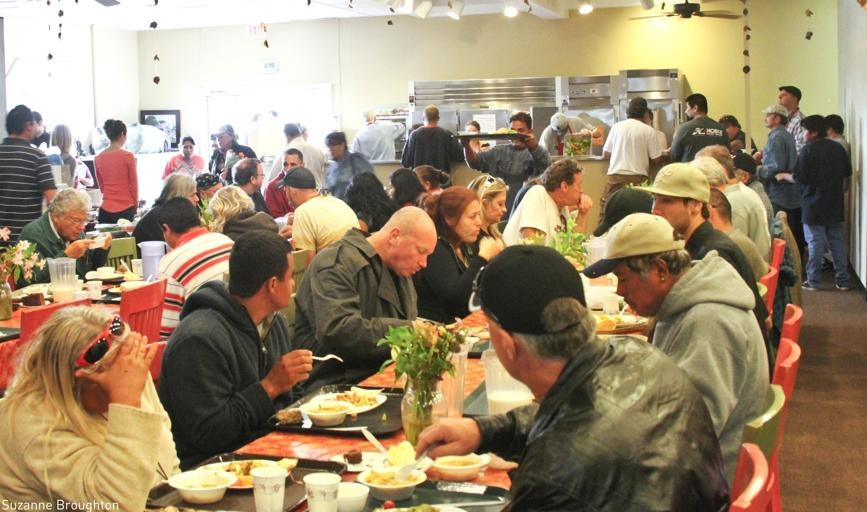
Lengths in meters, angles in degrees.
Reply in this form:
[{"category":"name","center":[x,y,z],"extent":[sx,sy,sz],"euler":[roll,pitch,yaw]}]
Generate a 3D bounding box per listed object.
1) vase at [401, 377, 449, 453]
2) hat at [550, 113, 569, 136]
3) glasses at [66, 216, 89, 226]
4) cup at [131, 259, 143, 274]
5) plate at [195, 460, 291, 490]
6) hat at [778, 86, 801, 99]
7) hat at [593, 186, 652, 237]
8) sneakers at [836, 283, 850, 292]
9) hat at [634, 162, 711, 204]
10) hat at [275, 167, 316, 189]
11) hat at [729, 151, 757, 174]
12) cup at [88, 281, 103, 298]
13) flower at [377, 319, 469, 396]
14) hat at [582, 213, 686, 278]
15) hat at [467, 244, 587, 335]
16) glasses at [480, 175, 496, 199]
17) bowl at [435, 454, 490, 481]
[{"category":"vase","center":[-0.046,0.709,3.068],"extent":[0.285,0.382,0.261],"euler":[0,-11,-1]},{"category":"hat","center":[1.751,-1.874,9.784],"extent":[0.248,0.192,0.373],"euler":[-2,47,19]},{"category":"glasses","center":[-2.936,-0.288,5.816],"extent":[0.169,0.050,0.166],"euler":[15,6,30]},{"category":"cup","center":[-2.546,0.097,6.108],"extent":[0.114,0.082,0.104],"euler":[0,5,0]},{"category":"plate","center":[-0.759,0.889,2.912],"extent":[0.201,0.027,0.197],"euler":[1,0,10]},{"category":"hat","center":[5.280,-2.409,10.397],"extent":[0.253,0.167,0.172],"euler":[-1,13,8]},{"category":"hat","center":[1.400,-0.356,5.261],"extent":[0.476,0.248,0.337],"euler":[-14,6,7]},{"category":"sneakers","center":[5.354,0.422,9.216],"extent":[0.075,0.084,0.202],"euler":[-1,-5,1]},{"category":"hat","center":[1.494,-0.447,4.342],"extent":[0.342,0.168,0.244],"euler":[4,6,-6]},{"category":"hat","center":[-1.323,-0.744,6.753],"extent":[0.336,0.166,0.247],"euler":[7,12,29]},{"category":"hat","center":[3.398,-1.019,7.655],"extent":[0.349,0.176,0.252],"euler":[24,17,25]},{"category":"cup","center":[-2.542,0.265,5.316],"extent":[0.132,0.124,0.108],"euler":[1,1,-16]},{"category":"flower","center":[-0.054,0.453,3.228],"extent":[0.329,0.216,0.316],"euler":[0,2,-8]},{"category":"hat","center":[0.964,-0.063,3.405],"extent":[0.431,0.221,0.257],"euler":[-3,2,2]},{"category":"hat","center":[0.333,0.106,2.483],"extent":[0.276,0.192,0.357],"euler":[-19,38,-18]},{"category":"glasses","center":[0.443,-0.550,5.645],"extent":[0.048,0.151,0.155],"euler":[11,19,-4]},{"category":"bowl","center":[0.114,0.878,2.919],"extent":[0.150,0.043,0.149],"euler":[-4,2,0]}]
